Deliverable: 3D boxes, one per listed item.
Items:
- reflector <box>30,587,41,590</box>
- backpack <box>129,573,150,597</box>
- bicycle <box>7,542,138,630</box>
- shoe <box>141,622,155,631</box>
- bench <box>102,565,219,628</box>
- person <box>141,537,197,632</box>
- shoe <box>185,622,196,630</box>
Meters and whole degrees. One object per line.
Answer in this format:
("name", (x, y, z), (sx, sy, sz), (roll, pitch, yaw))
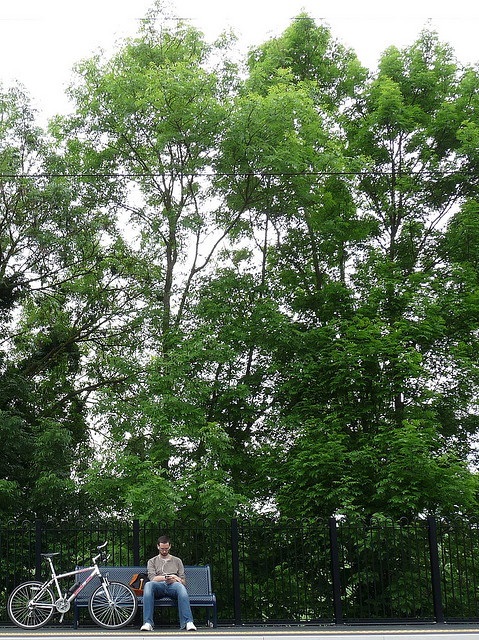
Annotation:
("reflector", (-3.324, 4.372, 12.859), (0.154, 0.034, 0.029), (-1, -19, -5))
("backpack", (-1.695, 4.451, 13.283), (0.321, 0.329, 0.163), (5, -8, 5))
("bicycle", (-2.721, 4.463, 12.893), (2.077, 1.095, 0.810), (-1, -19, -4))
("shoe", (-1.414, 4.707, 12.113), (0.177, 0.123, 0.132), (5, -20, -23))
("bench", (-1.468, 4.629, 13.191), (2.053, 0.715, 0.697), (2, -1, -7))
("person", (-1.154, 4.248, 12.756), (0.797, 1.438, 0.864), (-1, -20, -6))
("shoe", (-0.777, 4.784, 12.354), (0.144, 0.105, 0.233), (-1, -17, -6))
